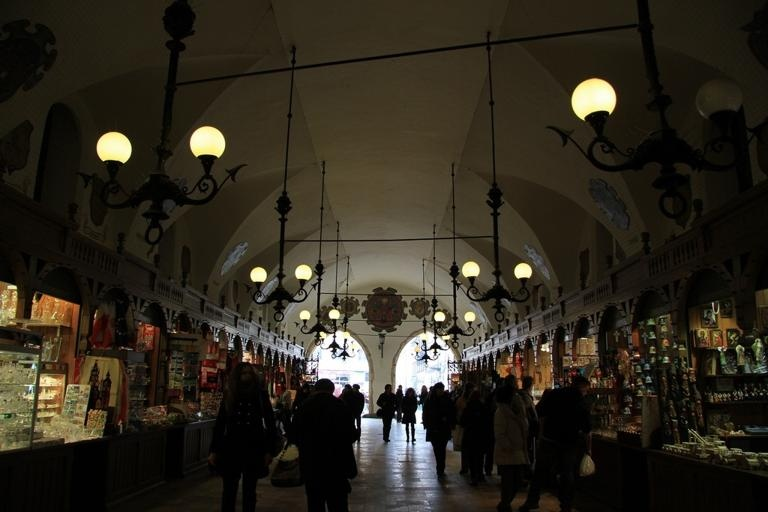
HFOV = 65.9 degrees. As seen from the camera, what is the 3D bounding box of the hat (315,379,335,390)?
[{"bbox_3d":[-0.760,1.636,7.506,0.161,0.189,0.191,3,-12,4],"label":"hat"}]
